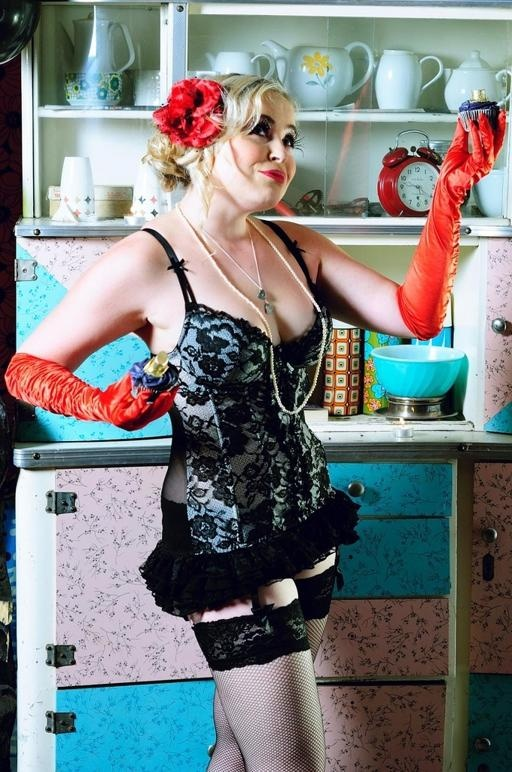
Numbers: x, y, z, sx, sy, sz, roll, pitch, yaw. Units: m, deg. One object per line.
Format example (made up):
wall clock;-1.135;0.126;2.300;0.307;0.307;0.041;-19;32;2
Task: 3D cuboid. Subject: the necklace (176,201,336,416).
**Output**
necklace;-0.035;-0.088;1.118;0.065;0.347;0.196;-34;-4;38

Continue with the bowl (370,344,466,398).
bowl;0.420;-0.025;1.877;0.234;0.092;0.220;1;6;0

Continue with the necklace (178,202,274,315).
necklace;-0.073;-0.205;1.116;0.085;0.037;0.254;-12;53;-36

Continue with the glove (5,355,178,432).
glove;-0.201;0.004;0.847;0.258;0.091;0.065;10;19;32

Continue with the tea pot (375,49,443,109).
tea pot;0.345;-0.731;1.762;0.213;0.152;0.121;-7;16;-17
